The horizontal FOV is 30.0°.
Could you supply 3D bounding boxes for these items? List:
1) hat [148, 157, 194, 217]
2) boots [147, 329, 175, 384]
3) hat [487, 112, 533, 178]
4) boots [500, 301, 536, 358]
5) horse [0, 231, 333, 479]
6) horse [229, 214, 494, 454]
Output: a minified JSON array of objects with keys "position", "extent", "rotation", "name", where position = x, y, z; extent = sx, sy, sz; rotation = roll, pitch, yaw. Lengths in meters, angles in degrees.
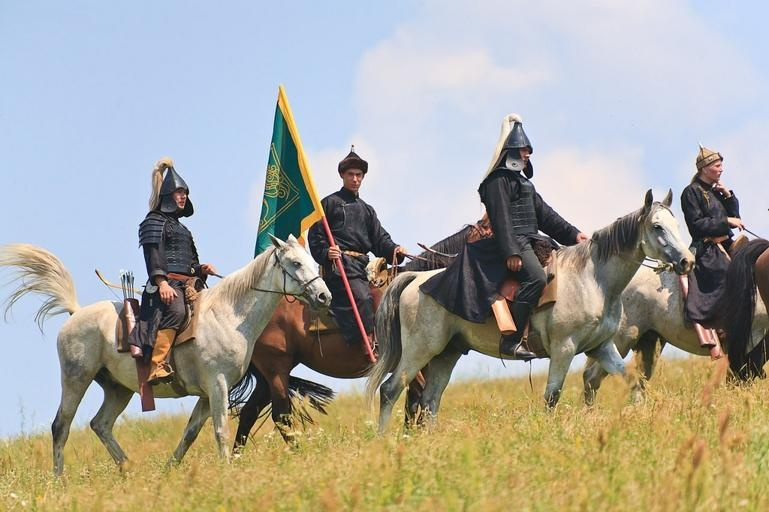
[{"position":[-3.103,-1.049,20.768],"extent":[0.540,0.736,0.580],"rotation":[2,6,11],"name":"hat"},{"position":[-3.080,1.386,19.895],"extent":[0.307,0.825,0.256],"rotation":[10,-38,-6],"name":"boots"},{"position":[1.833,-1.660,20.801],"extent":[0.647,0.830,0.659],"rotation":[1,9,10],"name":"hat"},{"position":[1.858,1.046,20.030],"extent":[0.491,0.812,0.336],"rotation":[-4,-4,5],"name":"boots"},{"position":[-3.121,1.314,20.133],"extent":[4.422,3.297,1.725],"rotation":[-6,-5,33],"name":"horse"},{"position":[-0.325,1.457,21.057],"extent":[5.113,3.332,1.187],"rotation":[-10,-17,28],"name":"horse"}]
